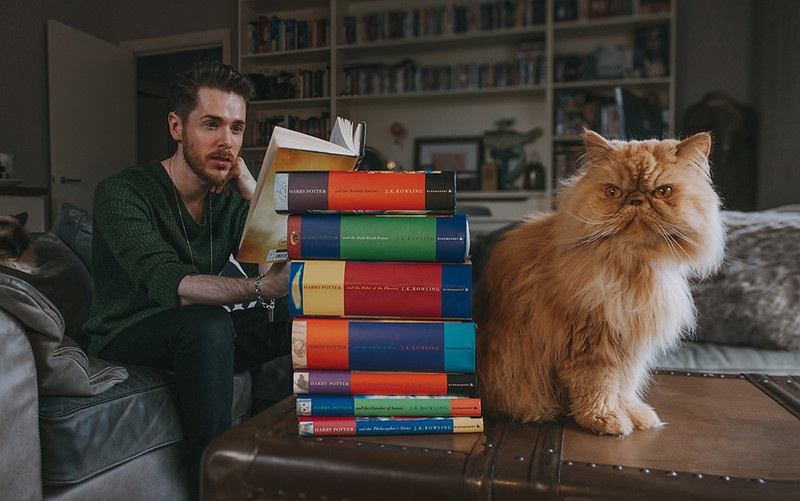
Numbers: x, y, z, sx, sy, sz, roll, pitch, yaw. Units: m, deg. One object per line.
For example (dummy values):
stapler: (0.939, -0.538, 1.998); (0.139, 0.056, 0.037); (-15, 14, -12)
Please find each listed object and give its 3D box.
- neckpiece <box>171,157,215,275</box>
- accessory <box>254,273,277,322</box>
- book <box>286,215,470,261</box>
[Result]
neckpiece: (-0.880, -0.158, 3.216); (0.132, 0.444, 0.321); (-15, -12, 13)
accessory: (-0.502, 0.196, 2.780); (0.036, 0.213, 0.106); (-14, 28, -12)
book: (-0.074, -0.040, 2.432); (0.585, 0.147, 0.024); (0, 5, 1)
